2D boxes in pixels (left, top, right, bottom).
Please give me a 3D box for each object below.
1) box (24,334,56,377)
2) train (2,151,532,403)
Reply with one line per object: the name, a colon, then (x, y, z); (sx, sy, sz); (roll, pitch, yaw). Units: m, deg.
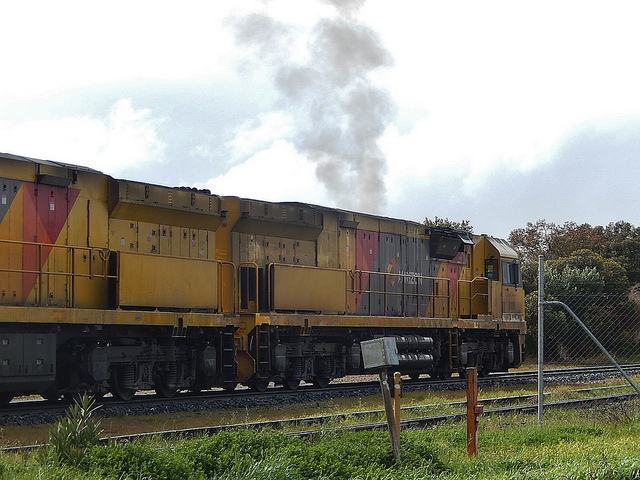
box: (-4.925, 2.068, 11.656); (0.384, 0.700, 0.680); (-17, -4, -20)
train: (-0.724, 1.165, 15.293); (12.156, 4.686, 1.196); (3, -1, -38)
